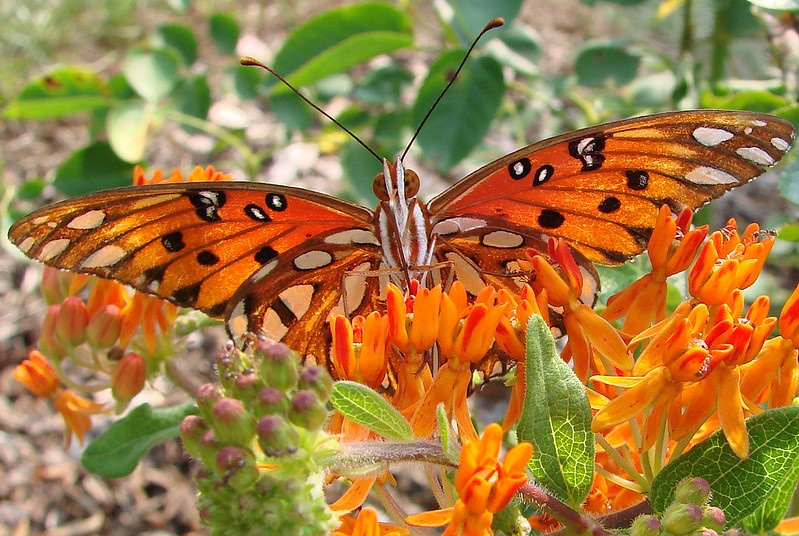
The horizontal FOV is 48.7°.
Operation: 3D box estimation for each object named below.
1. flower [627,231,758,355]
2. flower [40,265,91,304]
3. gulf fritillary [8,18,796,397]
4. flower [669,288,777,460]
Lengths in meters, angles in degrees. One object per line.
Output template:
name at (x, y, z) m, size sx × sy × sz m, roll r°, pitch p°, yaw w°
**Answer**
flower at (0.940, 0.036, 2.781) m, size 0.225 × 0.352 × 0.506 m, roll 2°, pitch 91°, yaw 2°
flower at (-1.259, 0.059, 3.322) m, size 0.144 × 0.181 × 0.074 m, roll 1°, pitch 100°, yaw -4°
gulf fritillary at (-0.053, -0.088, 3.957) m, size 2.691 × 1.140 × 1.618 m, roll 1°, pitch 93°, yaw -5°
flower at (0.940, 0.333, 2.630) m, size 0.252 × 0.277 × 0.564 m, roll -1°, pitch 89°, yaw 7°
